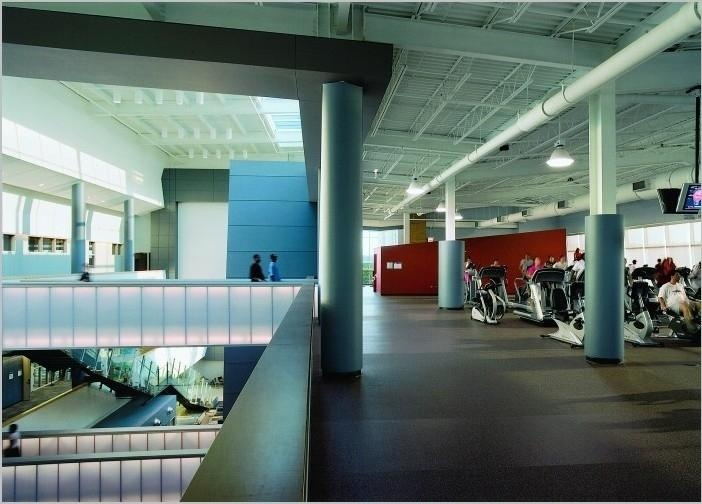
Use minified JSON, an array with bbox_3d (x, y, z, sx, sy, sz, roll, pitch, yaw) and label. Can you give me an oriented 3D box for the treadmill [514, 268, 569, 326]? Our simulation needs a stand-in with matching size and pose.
[{"bbox_3d":[4.555,1.035,13.181,1.412,1.304,1.166,1,2,5],"label":"treadmill"}]
